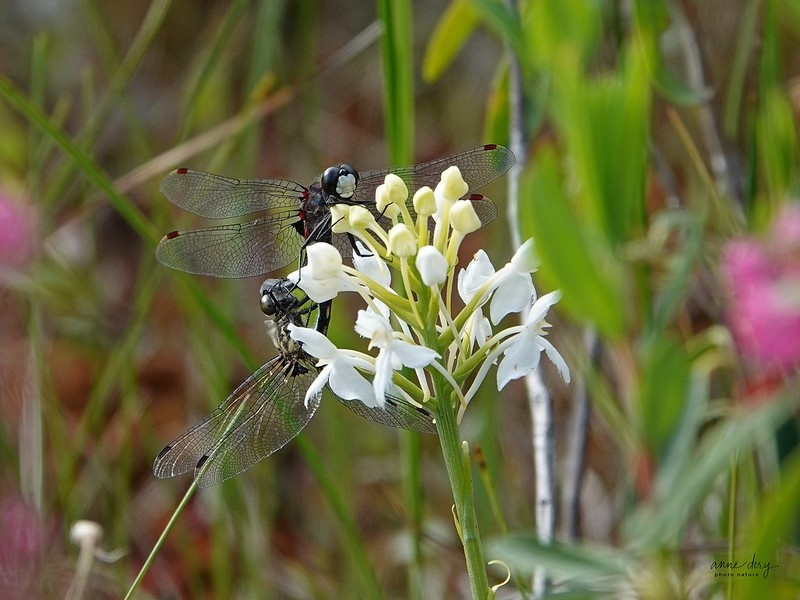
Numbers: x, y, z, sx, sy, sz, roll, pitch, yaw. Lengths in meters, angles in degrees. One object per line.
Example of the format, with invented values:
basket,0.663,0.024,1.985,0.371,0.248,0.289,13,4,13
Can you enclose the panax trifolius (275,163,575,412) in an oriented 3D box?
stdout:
panax trifolius,0.071,0.034,1.875,0.451,0.481,0.482,-8,-11,24
